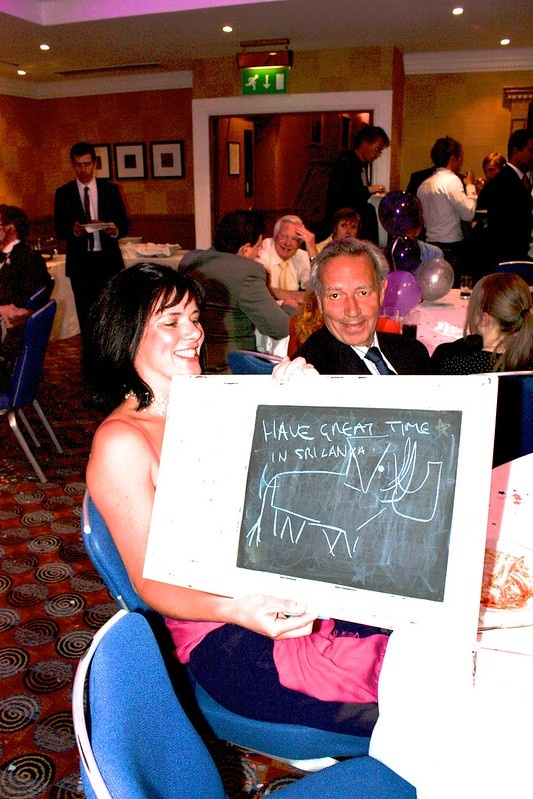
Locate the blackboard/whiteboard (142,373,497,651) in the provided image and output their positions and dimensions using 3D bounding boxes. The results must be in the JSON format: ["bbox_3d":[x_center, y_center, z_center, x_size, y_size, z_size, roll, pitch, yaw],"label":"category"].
[{"bbox_3d":[0.065,0.136,0.761,0.461,0.289,0.008,-1,-13,38],"label":"blackboard/whiteboard"}]

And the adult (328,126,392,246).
[{"bbox_3d":[0.897,-1.793,5.564,0.464,1.308,0.437,18,37,41],"label":"adult"}]

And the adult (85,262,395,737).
[{"bbox_3d":[0.013,0.173,1.110,0.617,0.723,0.539,4,20,19],"label":"adult"}]

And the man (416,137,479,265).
[{"bbox_3d":[1.734,-1.584,5.644,0.437,1.634,0.547,-17,31,-13],"label":"man"}]
